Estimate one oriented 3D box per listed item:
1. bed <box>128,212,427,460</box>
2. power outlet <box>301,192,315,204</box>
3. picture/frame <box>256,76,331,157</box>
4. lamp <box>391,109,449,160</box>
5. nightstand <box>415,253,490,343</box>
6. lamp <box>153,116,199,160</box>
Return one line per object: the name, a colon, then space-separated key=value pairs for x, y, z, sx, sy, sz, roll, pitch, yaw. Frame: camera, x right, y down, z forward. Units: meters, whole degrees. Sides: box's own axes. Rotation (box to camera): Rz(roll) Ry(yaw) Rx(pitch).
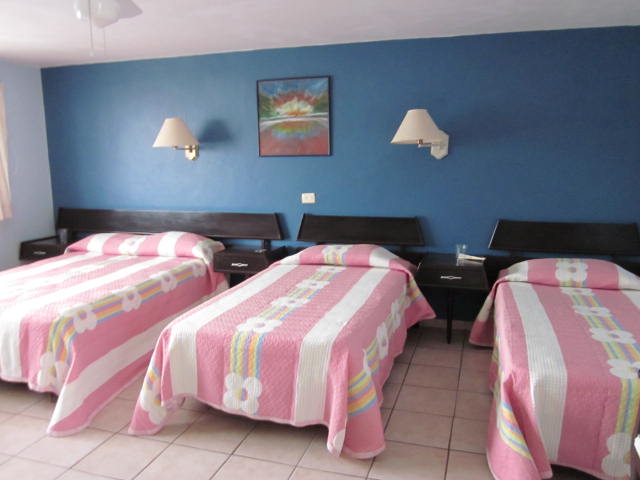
bed: x=0.008 y=0.452 z=3.249 sx=1.078 sy=0.619 sz=1.672 roll=6 pitch=15 yaw=22
power outlet: x=-0.121 y=-0.421 z=4.506 sx=0.113 sy=0.115 sz=0.027 roll=0 pitch=9 yaw=16
picture/frame: x=-0.232 y=-1.230 z=4.415 sx=0.744 sy=0.768 sz=0.033 roll=2 pitch=6 yaw=15
lamp: x=0.902 y=-0.931 z=3.959 sx=0.417 sy=0.422 sz=0.467 roll=0 pitch=3 yaw=42
nightstand: x=1.160 y=0.511 z=4.126 sx=0.662 sy=0.682 sz=0.684 roll=4 pitch=17 yaw=16
lamp: x=-1.419 y=-0.988 z=4.602 sx=0.416 sy=0.390 sz=0.430 roll=1 pitch=7 yaw=20
